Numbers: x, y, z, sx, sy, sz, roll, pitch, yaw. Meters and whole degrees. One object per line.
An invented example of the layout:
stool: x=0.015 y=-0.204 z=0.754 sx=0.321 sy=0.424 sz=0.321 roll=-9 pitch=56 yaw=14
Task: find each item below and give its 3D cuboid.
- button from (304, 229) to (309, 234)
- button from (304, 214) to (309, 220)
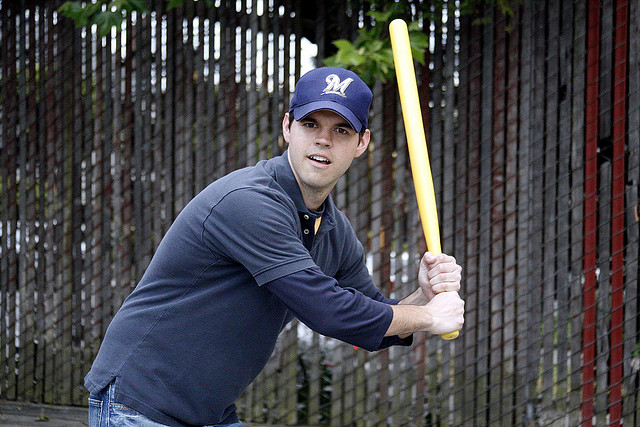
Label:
button: x=-0.096 y=0.120 z=11.822 sx=0.039 sy=0.036 sz=0.010 roll=-2 pitch=-4 yaw=-6
button: x=-0.096 y=0.012 z=11.809 sx=0.040 sy=0.035 sz=0.010 roll=1 pitch=-2 yaw=-4
